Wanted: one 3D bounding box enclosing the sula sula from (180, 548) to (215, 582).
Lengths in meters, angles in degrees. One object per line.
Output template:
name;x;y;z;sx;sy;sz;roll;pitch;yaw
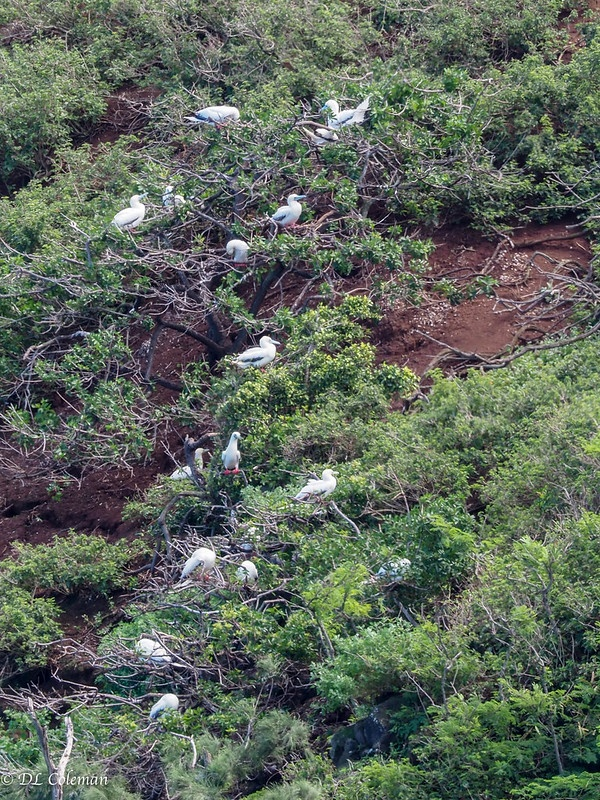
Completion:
sula sula;-1.084;1.782;19.709;0.351;0.391;0.350;5;8;-4

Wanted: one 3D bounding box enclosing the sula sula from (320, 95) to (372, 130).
sula sula;0.618;-3.569;23.144;0.669;0.422;0.420;8;8;23

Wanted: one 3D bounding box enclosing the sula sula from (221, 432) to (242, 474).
sula sula;-0.772;0.630;21.023;0.217;0.526;0.445;6;8;-2

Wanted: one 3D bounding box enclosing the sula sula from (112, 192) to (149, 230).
sula sula;-2.121;-2.299;22.776;0.380;0.457;0.526;5;7;-5

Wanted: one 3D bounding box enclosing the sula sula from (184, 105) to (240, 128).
sula sula;-1.092;-3.630;23.463;0.748;0.209;0.284;1;-20;-25

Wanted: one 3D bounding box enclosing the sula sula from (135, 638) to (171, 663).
sula sula;-1.538;2.645;19.294;0.354;0.112;0.212;22;42;-8

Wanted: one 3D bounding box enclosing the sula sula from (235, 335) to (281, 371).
sula sula;-0.488;-0.539;21.842;0.627;0.350;0.277;-4;13;9

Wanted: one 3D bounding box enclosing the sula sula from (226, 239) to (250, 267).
sula sula;-0.774;-1.801;22.816;0.286;0.314;0.505;5;7;-3

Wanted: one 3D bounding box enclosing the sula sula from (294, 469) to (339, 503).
sula sula;0.174;0.942;19.783;0.397;0.355;0.769;7;7;8

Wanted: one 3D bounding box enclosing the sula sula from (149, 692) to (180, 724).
sula sula;-1.404;3.192;18.985;0.290;0.280;0.229;5;8;-6

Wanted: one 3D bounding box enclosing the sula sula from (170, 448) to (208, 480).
sula sula;-1.352;0.801;22.167;0.381;0.433;0.780;5;7;-4

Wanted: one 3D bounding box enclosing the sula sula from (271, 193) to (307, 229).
sula sula;-0.008;-2.360;22.940;0.628;0.423;0.273;12;32;31
